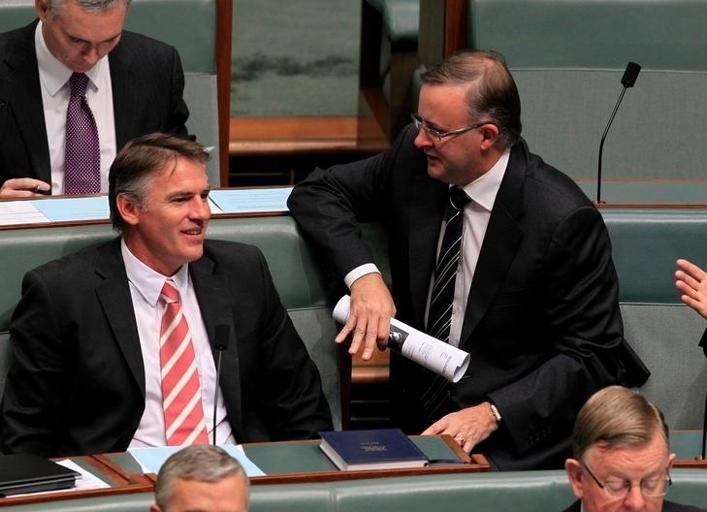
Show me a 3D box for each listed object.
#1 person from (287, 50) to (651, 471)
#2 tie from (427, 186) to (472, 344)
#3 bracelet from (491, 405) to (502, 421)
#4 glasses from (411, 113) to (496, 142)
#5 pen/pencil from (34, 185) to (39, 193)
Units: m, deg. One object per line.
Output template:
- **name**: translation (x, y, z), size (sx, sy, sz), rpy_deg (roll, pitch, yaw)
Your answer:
- **person**: translation (0.425, 0.021, 2.188), size (0.936, 1.487, 0.965), rpy_deg (-17, 34, -31)
- **tie**: translation (0.306, 0.031, 2.197), size (0.100, 0.557, 0.066), rpy_deg (11, -10, -10)
- **bracelet**: translation (0.423, 0.464, 1.977), size (0.009, 0.038, 0.038), rpy_deg (-21, 19, -9)
- **glasses**: translation (0.301, -0.399, 2.066), size (0.141, 0.038, 0.130), rpy_deg (-16, 31, -13)
- **pen/pencil**: translation (-1.108, -0.233, 2.321), size (0.022, 0.021, 0.005), rpy_deg (-8, 2, 12)
